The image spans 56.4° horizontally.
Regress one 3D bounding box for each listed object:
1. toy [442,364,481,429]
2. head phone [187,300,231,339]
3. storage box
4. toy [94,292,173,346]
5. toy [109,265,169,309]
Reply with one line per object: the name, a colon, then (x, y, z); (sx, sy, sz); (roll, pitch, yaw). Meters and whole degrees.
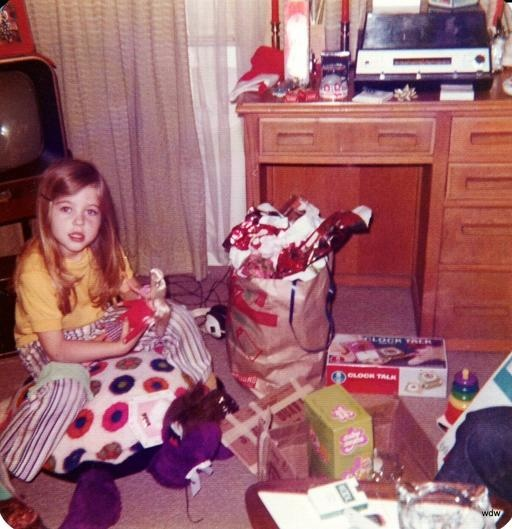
toy: (0.551, 0.365, 1.290); (0.071, 0.206, 0.084); (-16, 28, -27)
head phone: (-0.175, 0.206, 1.784); (0.145, 0.054, 0.112); (11, 19, 15)
storage box: (0.248, 0.376, 1.345); (0.455, 0.157, 0.347); (1, 29, -3)
toy: (-0.323, 0.148, 1.293); (0.183, 0.084, 0.105); (-28, 60, -15)
toy: (-0.359, 0.068, 1.443); (0.045, 0.122, 0.123); (-18, 5, -32)
